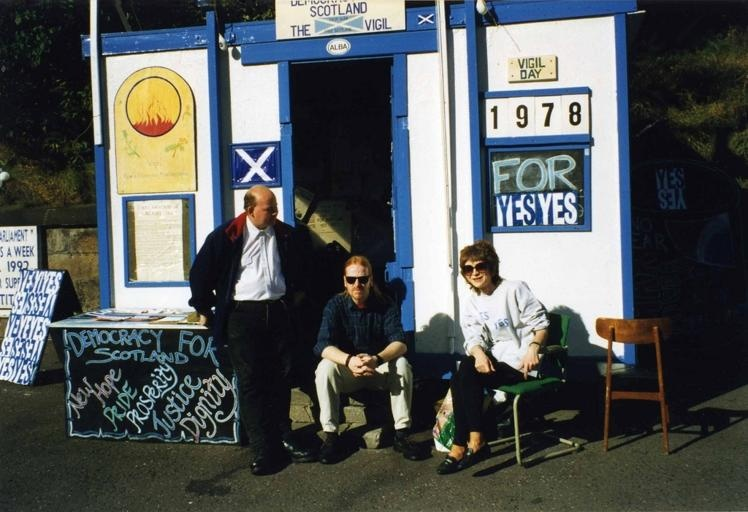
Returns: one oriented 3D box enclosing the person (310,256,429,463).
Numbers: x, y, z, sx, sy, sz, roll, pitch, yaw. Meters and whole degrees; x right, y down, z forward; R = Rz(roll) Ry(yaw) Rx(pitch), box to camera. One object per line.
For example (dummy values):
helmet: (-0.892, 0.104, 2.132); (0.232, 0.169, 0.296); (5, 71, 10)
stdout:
person: (-0.104, 1.122, 9.631); (1.112, 1.838, 0.586); (-3, 1, -3)

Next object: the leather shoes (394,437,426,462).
leather shoes: (0.401, 2.129, 9.499); (0.322, 0.169, 0.184); (11, 10, 32)

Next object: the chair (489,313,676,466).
chair: (2.547, 1.407, 9.726); (2.026, 2.047, 1.255); (0, -1, 34)

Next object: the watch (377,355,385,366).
watch: (0.078, 1.150, 9.510); (0.082, 0.094, 0.090); (2, -6, -6)

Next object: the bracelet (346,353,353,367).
bracelet: (-0.282, 1.144, 9.481); (0.063, 0.118, 0.102); (9, -38, 14)
